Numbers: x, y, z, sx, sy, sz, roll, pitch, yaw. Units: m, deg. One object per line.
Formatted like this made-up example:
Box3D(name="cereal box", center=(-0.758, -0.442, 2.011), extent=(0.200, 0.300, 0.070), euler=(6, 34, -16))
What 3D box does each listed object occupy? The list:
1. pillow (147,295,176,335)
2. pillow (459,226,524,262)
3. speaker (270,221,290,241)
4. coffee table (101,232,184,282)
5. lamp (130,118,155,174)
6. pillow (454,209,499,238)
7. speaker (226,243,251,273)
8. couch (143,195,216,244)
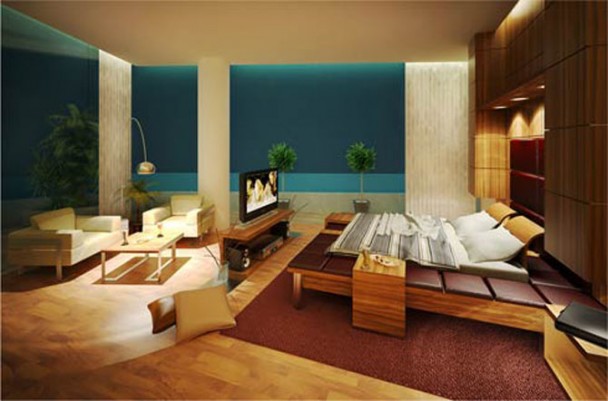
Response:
Box3D(name="pillow", center=(-1.746, 1.366, 4.484), extent=(0.372, 0.453, 0.147), euler=(-19, -26, 3))
Box3D(name="pillow", center=(2.468, 0.601, 4.776), extent=(0.464, 0.145, 0.488), euler=(-24, 29, 1))
Box3D(name="speaker", center=(-0.456, 0.582, 7.317), extent=(0.434, 0.445, 0.334), euler=(3, 9, 18))
Box3D(name="coffee table", center=(-2.591, 0.734, 5.837), extent=(0.711, 0.431, 1.160), euler=(1, 6, 0))
Box3D(name="lamp", center=(-3.543, -1.103, 8.048), extent=(0.375, 1.387, 2.664), euler=(-6, 16, -24))
Box3D(name="pillow", center=(2.706, 0.361, 5.816), extent=(0.698, 0.197, 0.727), euler=(-13, 18, 29))
Box3D(name="speaker", center=(-1.104, 0.951, 6.051), extent=(0.426, 0.362, 0.422), euler=(3, 5, 1))
Box3D(name="couch", center=(-2.440, 0.301, 7.238), extent=(1.014, 0.876, 1.030), euler=(0, 0, 4))
